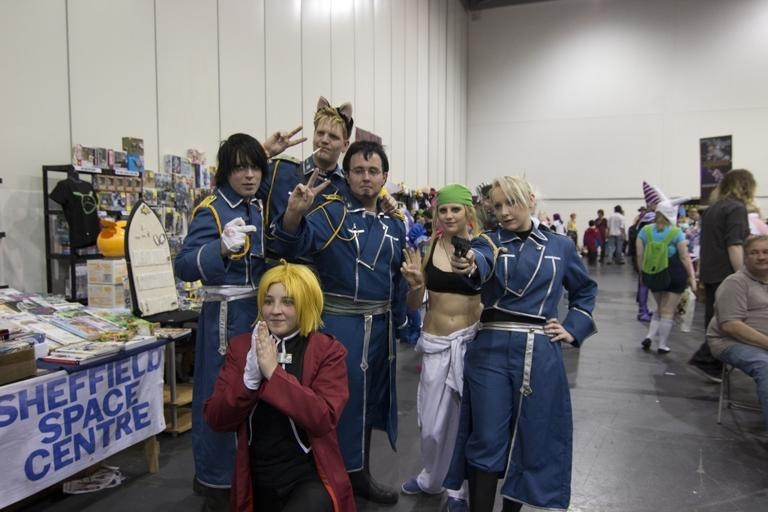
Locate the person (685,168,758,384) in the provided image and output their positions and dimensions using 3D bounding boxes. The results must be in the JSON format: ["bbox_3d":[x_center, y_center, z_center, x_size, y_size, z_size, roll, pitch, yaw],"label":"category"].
[{"bbox_3d":[3.744,0.175,5.971,0.710,2.270,0.655,5,-1,17],"label":"person"}]

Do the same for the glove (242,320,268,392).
[{"bbox_3d":[-0.737,0.545,3.092,0.112,0.377,0.211,-1,7,-8],"label":"glove"}]

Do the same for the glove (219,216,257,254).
[{"bbox_3d":[-0.915,-0.125,3.447,0.176,0.185,0.230,22,-5,-14],"label":"glove"}]

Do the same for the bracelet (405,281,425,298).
[{"bbox_3d":[0.223,0.234,3.911,0.099,0.141,0.142,1,-6,1],"label":"bracelet"}]

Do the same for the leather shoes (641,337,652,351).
[{"bbox_3d":[3.512,1.175,7.313,0.083,0.178,0.245,4,2,18],"label":"leather shoes"}]

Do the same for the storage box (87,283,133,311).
[{"bbox_3d":[-2.500,0.360,4.919,0.245,0.162,0.253,1,0,25],"label":"storage box"}]

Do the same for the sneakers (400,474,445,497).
[{"bbox_3d":[0.312,1.743,4.210,0.357,0.153,0.126,4,-1,8],"label":"sneakers"}]

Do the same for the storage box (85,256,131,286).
[{"bbox_3d":[-2.515,0.137,4.931,0.266,0.175,0.277,-2,-1,18],"label":"storage box"}]

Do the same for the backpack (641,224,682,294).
[{"bbox_3d":[3.632,0.036,7.090,0.524,0.862,0.461,4,8,27],"label":"backpack"}]
